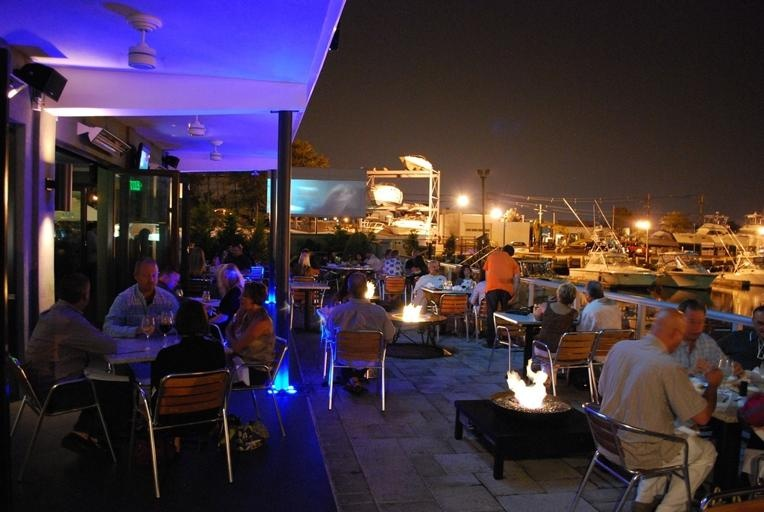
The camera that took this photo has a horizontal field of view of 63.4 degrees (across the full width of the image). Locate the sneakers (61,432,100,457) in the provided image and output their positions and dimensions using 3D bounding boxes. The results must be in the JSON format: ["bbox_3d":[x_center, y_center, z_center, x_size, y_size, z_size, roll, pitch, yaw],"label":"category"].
[{"bbox_3d":[-3.137,1.959,6.514,0.493,0.188,0.210,12,9,29],"label":"sneakers"}]

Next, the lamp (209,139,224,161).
[{"bbox_3d":[-3.605,-2.331,13.550,0.396,0.483,0.400,1,-4,-1],"label":"lamp"}]

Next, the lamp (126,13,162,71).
[{"bbox_3d":[-2.638,-2.370,6.846,0.456,0.565,0.452,1,-1,-2],"label":"lamp"}]

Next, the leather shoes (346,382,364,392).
[{"bbox_3d":[-0.363,1.750,8.282,0.212,0.212,0.109,1,-3,3],"label":"leather shoes"}]

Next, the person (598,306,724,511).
[{"bbox_3d":[2.397,1.404,5.387,0.992,1.868,0.606,5,11,16],"label":"person"}]

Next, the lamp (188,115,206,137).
[{"bbox_3d":[-3.186,-2.257,10.691,0.252,0.248,0.404,0,7,-18],"label":"lamp"}]

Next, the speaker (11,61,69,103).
[{"bbox_3d":[-4.156,-2.166,7.513,0.471,0.294,0.478,23,-1,10],"label":"speaker"}]

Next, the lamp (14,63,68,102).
[{"bbox_3d":[-4.155,-2.181,7.522,0.473,0.296,0.476,24,0,3],"label":"lamp"}]
